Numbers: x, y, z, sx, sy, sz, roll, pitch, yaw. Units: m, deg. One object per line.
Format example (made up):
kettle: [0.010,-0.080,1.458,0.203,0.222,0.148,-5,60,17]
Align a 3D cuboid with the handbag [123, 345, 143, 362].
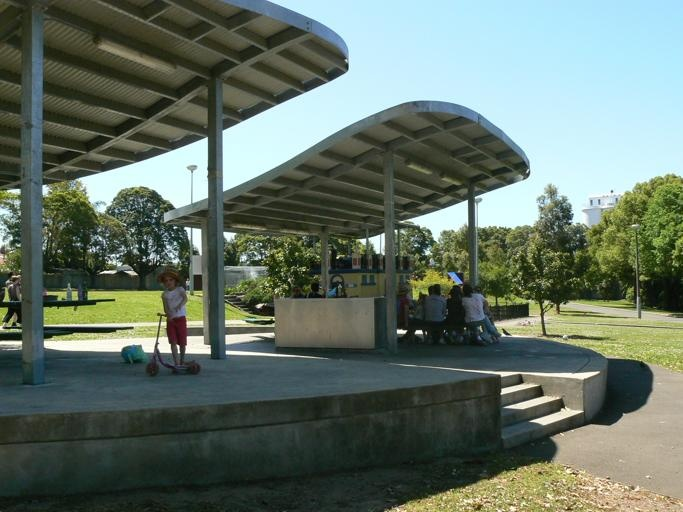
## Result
handbag: [-4.214,1.998,13.345,0.379,0.304,0.291,1,4,23]
